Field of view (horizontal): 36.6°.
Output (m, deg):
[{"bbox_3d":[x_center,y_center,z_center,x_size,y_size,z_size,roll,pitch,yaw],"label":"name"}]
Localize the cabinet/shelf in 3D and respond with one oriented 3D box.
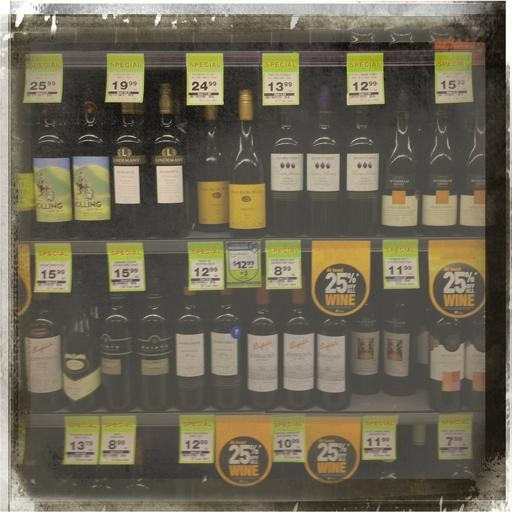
[{"bbox_3d":[-0.013,0.071,2.333,1.662,1.257,0.528,-1,1,-1],"label":"cabinet/shelf"}]
